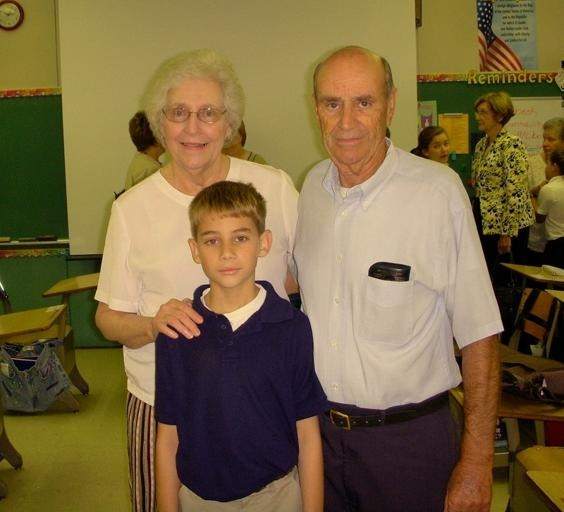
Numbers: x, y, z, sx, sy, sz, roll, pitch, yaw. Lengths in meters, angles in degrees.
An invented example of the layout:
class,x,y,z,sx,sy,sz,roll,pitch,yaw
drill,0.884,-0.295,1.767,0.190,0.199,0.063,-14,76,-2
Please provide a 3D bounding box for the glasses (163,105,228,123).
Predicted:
class,x,y,z,sx,sy,sz,roll,pitch,yaw
glasses,-0.292,-0.462,1.836,0.203,0.054,0.072,-2,11,-10

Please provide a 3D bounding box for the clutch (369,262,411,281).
class,x,y,z,sx,sy,sz,roll,pitch,yaw
clutch,0.331,0.048,1.714,0.129,0.053,0.035,2,10,11
